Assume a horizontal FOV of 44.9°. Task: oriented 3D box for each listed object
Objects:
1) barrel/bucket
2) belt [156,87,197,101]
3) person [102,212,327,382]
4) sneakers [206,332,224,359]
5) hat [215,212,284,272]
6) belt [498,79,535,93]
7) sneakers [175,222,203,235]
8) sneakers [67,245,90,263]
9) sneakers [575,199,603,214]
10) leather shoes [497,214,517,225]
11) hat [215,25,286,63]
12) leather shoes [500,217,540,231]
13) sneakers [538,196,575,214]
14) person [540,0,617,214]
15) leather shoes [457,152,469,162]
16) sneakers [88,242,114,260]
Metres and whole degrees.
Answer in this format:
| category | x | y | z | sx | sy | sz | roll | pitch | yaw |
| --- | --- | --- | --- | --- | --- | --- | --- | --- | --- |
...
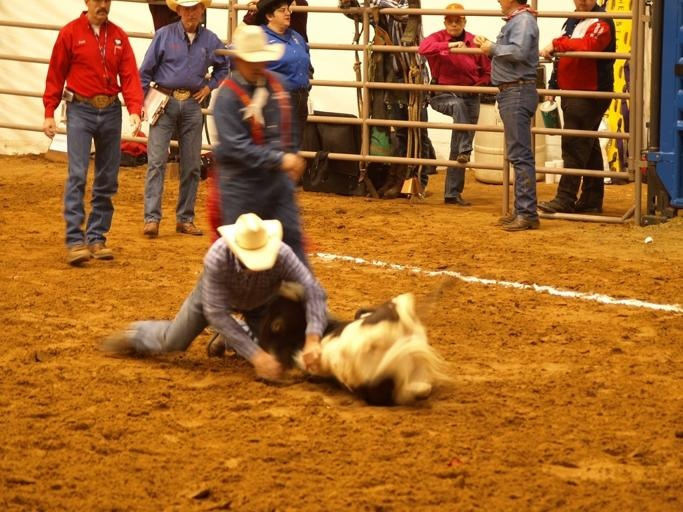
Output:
| category | x | y | z | sx | sy | sz | roll | pitch | yaw |
| --- | --- | --- | --- | --- | --- | --- | --- | --- | --- |
| barrel/bucket | 2.123 | -1.486 | 11.132 | 1.299 | 1.017 | 1.125 | -2 | 6 | -6 |
| belt | -1.498 | -1.475 | 7.514 | 0.327 | 0.107 | 0.067 | 3 | 5 | -11 |
| person | -0.709 | 0.226 | 4.839 | 1.262 | 0.801 | 1.709 | -7 | 9 | -21 |
| sneakers | -0.776 | 0.556 | 5.059 | 0.120 | 0.131 | 0.064 | 6 | 2 | 40 |
| hat | -0.499 | -0.117 | 4.433 | 0.367 | 0.163 | 0.458 | -22 | 23 | -26 |
| belt | 1.678 | -1.644 | 7.964 | 0.366 | 0.114 | 0.217 | 5 | 4 | 16 |
| sneakers | -1.446 | -0.253 | 7.877 | 0.290 | 0.098 | 0.097 | 1 | 7 | 10 |
| sneakers | -2.087 | -0.010 | 6.601 | 0.108 | 0.095 | 0.243 | 1 | -10 | -40 |
| sneakers | 2.715 | -0.551 | 9.108 | 0.377 | 0.126 | 0.140 | 4 | 2 | 7 |
| leather shoes | 1.705 | -0.369 | 8.345 | 0.239 | 0.077 | 0.075 | -4 | 13 | -18 |
| hat | -0.544 | -1.293 | 5.082 | 0.358 | 0.119 | 0.349 | -5 | 9 | -10 |
| leather shoes | 1.784 | -0.308 | 8.191 | 0.414 | 0.136 | 0.140 | 0 | 4 | -10 |
| sneakers | 2.317 | -0.545 | 8.853 | 0.473 | 0.151 | 0.161 | 5 | -5 | -25 |
| person | 2.502 | -1.566 | 8.738 | 0.752 | 2.250 | 1.041 | 7 | 6 | 17 |
| leather shoes | 1.359 | -1.105 | 9.178 | 0.135 | 0.096 | 0.254 | 1 | 6 | 12 |
| sneakers | -1.957 | -0.036 | 6.788 | 0.247 | 0.091 | 0.103 | 3 | 6 | 26 |
